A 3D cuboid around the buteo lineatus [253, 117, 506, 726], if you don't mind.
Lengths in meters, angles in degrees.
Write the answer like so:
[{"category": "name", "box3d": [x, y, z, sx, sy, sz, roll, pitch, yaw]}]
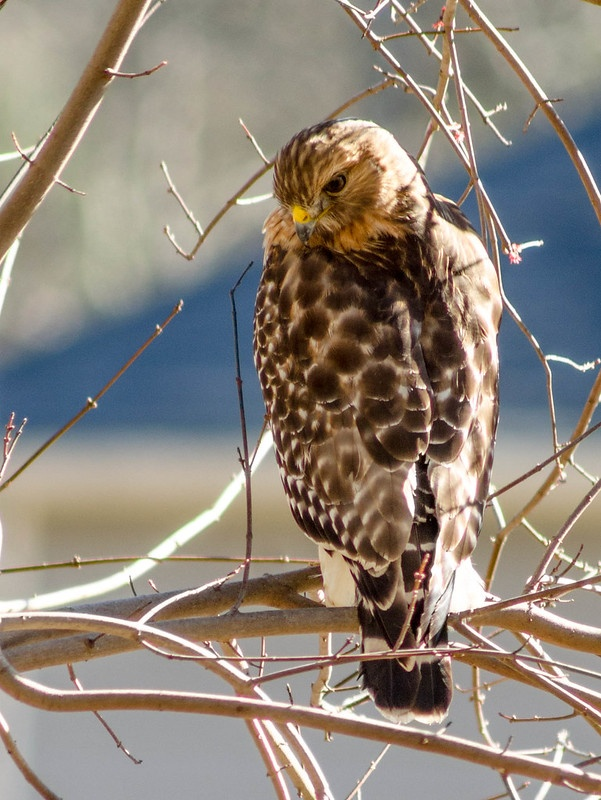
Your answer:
[{"category": "buteo lineatus", "box3d": [0.176, -0.065, 3.799, 0.661, 1.472, 0.540, -1, -14, 10]}]
